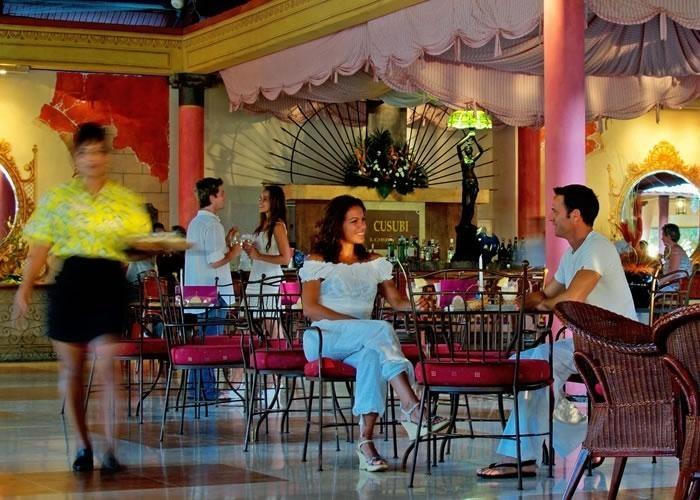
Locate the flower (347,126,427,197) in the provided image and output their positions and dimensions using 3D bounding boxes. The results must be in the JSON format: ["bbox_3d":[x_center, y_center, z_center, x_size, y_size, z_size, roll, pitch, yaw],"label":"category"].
[{"bbox_3d":[0.653,-1.409,13.291,1.043,0.998,1.066,-1,0,30],"label":"flower"}]

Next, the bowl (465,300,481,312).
[{"bbox_3d":[0.819,0.371,5.346,0.109,0.083,0.106,-2,2,0],"label":"bowl"}]

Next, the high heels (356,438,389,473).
[{"bbox_3d":[0.137,1.220,4.771,0.100,0.116,0.272,0,-2,-21],"label":"high heels"}]

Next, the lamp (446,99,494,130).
[{"bbox_3d":[1.707,-1.809,11.029,0.461,0.319,0.483,0,5,-8],"label":"lamp"}]

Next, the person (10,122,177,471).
[{"bbox_3d":[-1.450,0.288,4.809,0.935,1.998,0.548,-2,-2,5],"label":"person"}]

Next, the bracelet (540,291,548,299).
[{"bbox_3d":[1.207,0.280,4.992,0.038,0.044,0.040,1,9,3],"label":"bracelet"}]
